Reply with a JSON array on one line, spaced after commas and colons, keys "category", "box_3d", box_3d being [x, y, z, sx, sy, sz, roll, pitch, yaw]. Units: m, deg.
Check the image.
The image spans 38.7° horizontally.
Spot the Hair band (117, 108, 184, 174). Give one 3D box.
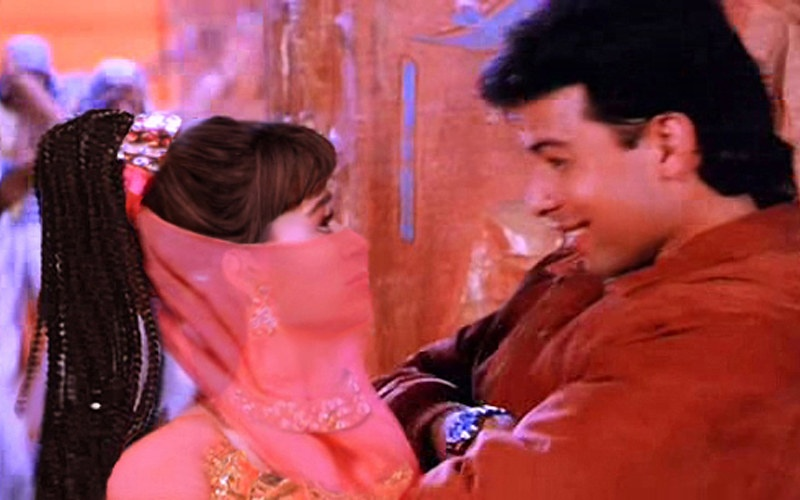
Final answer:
[{"category": "Hair band", "box_3d": [-0.686, -0.284, 3.261, 0.227, 0.201, 0.050, -24, -39, 30]}]

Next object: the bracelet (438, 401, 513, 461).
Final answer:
[{"category": "bracelet", "box_3d": [0.238, 0.551, 3.440, 0.188, 0.083, 0.242, -41, 18, -5]}]
